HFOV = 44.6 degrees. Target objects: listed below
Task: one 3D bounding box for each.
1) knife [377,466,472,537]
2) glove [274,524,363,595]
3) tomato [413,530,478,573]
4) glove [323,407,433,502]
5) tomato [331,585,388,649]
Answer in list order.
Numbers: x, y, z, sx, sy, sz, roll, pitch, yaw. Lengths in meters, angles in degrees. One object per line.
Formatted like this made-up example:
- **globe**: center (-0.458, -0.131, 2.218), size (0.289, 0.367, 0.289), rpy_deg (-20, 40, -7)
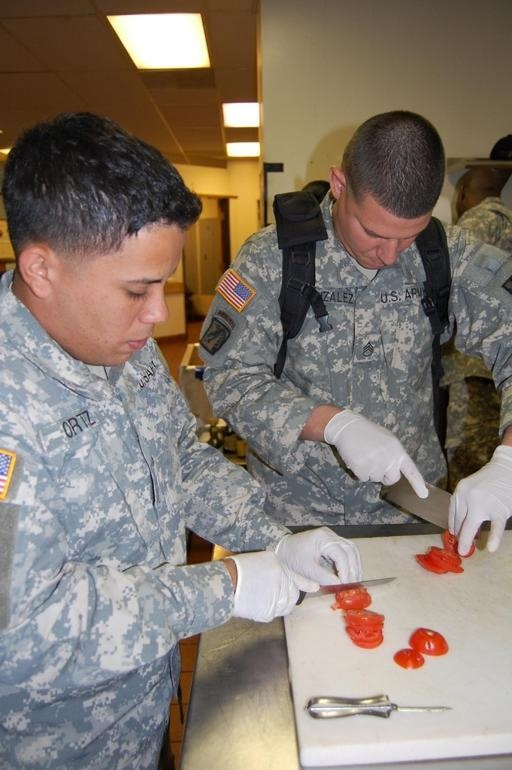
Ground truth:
- **knife**: center (0.447, 0.322, 1.681), size (0.071, 0.068, 0.257), rpy_deg (5, 9, -26)
- **glove**: center (0.130, 0.395, 1.348), size (0.202, 0.122, 0.147), rpy_deg (2, 64, 13)
- **tomato**: center (0.428, 0.373, 1.419), size (0.080, 0.032, 0.082), rpy_deg (-5, 27, 48)
- **glove**: center (0.281, 0.156, 1.533), size (0.149, 0.283, 0.089), rpy_deg (-38, -4, -14)
- **tomato**: center (0.211, 0.461, 1.225), size (0.055, 0.169, 0.048), rpy_deg (-26, 35, 7)
